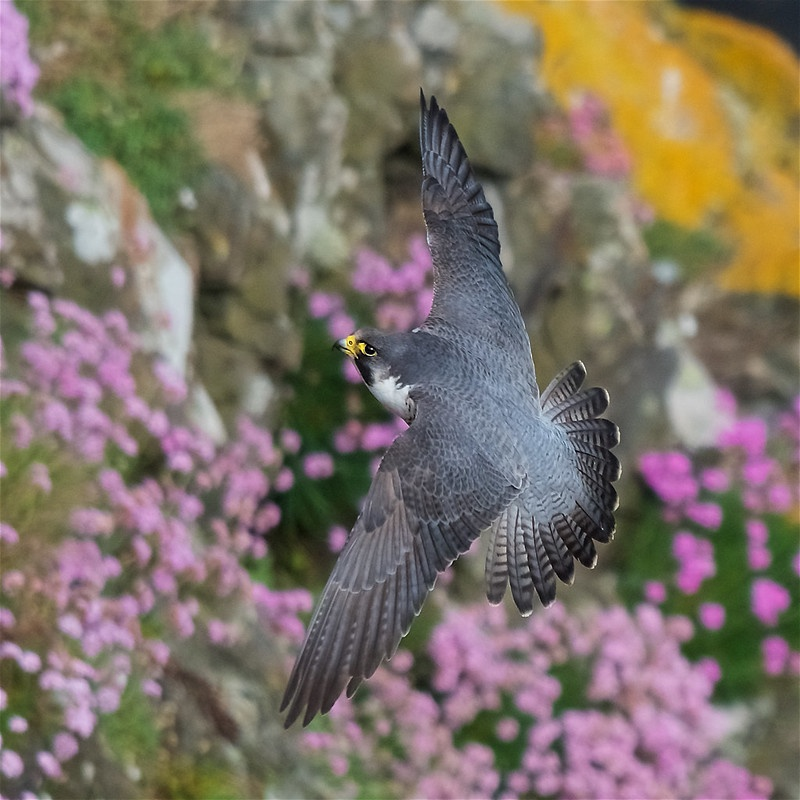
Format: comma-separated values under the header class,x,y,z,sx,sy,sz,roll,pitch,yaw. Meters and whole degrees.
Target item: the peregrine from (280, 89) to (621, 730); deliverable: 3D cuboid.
class,x,y,z,sx,sy,sz,roll,pitch,yaw
peregrine,0.146,0.060,3.807,0.599,0.467,1.335,13,58,1
